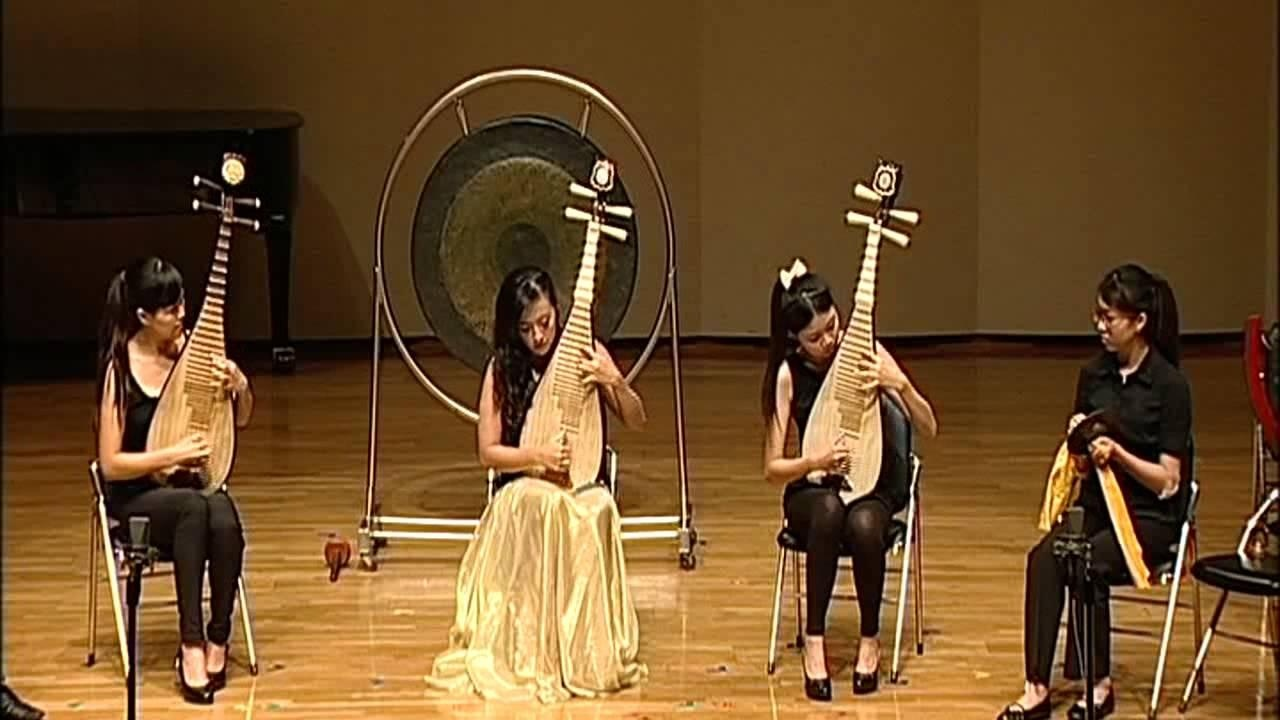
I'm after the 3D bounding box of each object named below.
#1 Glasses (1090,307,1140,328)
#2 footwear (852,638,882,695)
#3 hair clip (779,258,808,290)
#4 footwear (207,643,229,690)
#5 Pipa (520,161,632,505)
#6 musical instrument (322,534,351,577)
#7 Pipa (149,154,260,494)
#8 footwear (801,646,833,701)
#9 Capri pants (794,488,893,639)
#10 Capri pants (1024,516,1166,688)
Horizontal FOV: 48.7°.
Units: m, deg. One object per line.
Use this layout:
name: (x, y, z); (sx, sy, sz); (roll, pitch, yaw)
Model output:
Glasses: (2.196, -0.194, 6.508); (0.139, 0.079, 0.109); (4, 2, 14)
footwear: (1.078, 1.447, 6.706); (0.099, 0.303, 0.076); (3, 14, 7)
hair clip: (0.722, -0.406, 6.663); (0.129, 0.146, 0.101); (1, -2, 5)
footwear: (-2.000, 1.465, 6.720); (0.074, 0.240, 0.095); (3, -2, -3)
Pipa: (-0.293, -0.124, 6.784); (0.494, 1.612, 0.210); (7, 5, 3)
musical instrument: (-1.655, 1.086, 7.724); (0.138, 0.258, 0.106); (3, -9, -3)
Pipa: (-2.053, -0.150, 6.797); (0.431, 1.707, 0.464); (1, 0, -38)
footwear: (0.840, 1.471, 6.707); (0.096, 0.290, 0.076); (-5, 0, 7)
Capri pants: (0.932, 0.948, 6.638); (0.502, 0.713, 0.174); (1, -2, 5)
Capri pants: (2.108, 1.094, 6.490); (0.666, 0.824, 0.388); (1, -2, 5)
